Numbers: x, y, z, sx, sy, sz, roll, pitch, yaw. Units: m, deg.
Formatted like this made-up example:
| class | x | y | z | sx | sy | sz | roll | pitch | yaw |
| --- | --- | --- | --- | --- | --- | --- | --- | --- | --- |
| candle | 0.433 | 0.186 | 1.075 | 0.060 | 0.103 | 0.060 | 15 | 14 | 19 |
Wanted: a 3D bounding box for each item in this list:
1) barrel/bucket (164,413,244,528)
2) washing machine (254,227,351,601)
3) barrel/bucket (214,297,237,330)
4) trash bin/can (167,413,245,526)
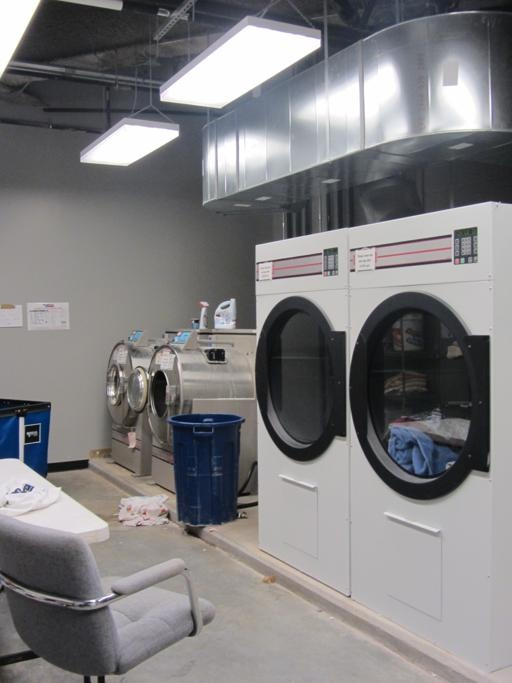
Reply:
| class | x | y | z | sx | sy | sz | roll | pitch | yaw |
| --- | --- | --- | --- | --- | --- | --- | --- | --- | --- |
| barrel/bucket | -0.281 | 0.803 | 3.644 | 0.570 | 0.750 | 0.599 | 0 | -1 | 0 |
| washing machine | 0.372 | 0.320 | 2.902 | 0.579 | 1.645 | 0.794 | -3 | 3 | -36 |
| barrel/bucket | -0.270 | -0.239 | 4.858 | 0.168 | 0.249 | 0.427 | -4 | 1 | -6 |
| trash bin/can | -0.323 | 0.836 | 3.592 | 0.471 | 0.623 | 0.477 | -3 | -4 | 24 |
